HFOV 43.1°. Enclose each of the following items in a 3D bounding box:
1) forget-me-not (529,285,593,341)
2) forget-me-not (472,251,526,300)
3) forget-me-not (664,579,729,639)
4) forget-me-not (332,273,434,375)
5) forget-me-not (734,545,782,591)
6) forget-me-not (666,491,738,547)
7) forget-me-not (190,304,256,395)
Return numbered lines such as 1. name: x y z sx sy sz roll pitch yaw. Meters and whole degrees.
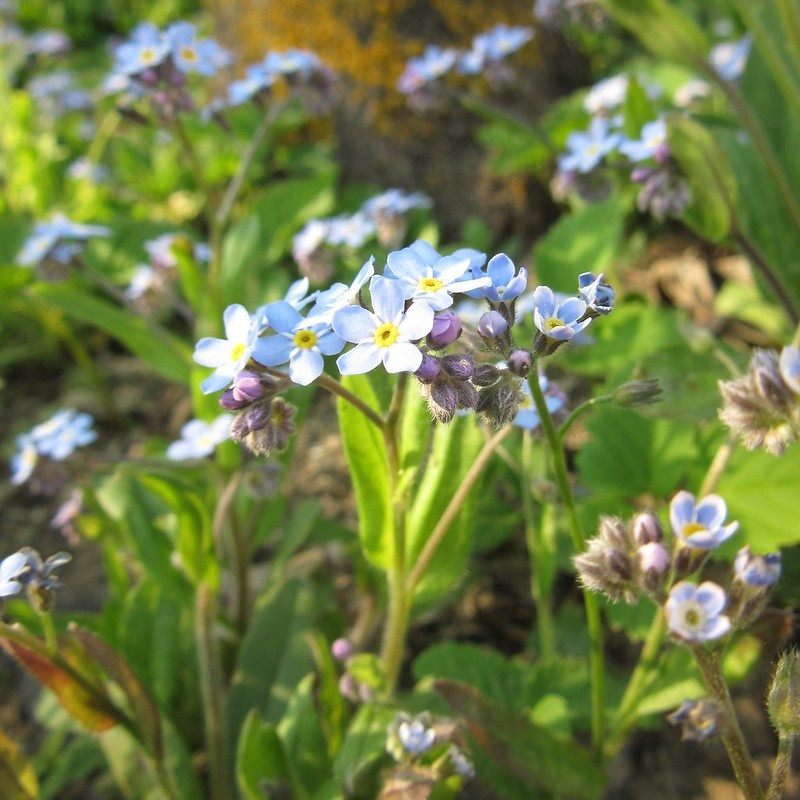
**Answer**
1. forget-me-not: 0.369 -0.217 2.418 0.133 0.178 0.094 15 91 19
2. forget-me-not: 0.245 -0.298 2.402 0.095 0.070 0.136 -8 14 28
3. forget-me-not: 0.671 0.459 2.247 0.151 0.181 0.077 36 83 28
4. forget-me-not: -0.018 -0.194 2.327 0.202 0.219 0.078 5 78 28
5. forget-me-not: 0.790 0.368 2.259 0.084 0.060 0.106 22 21 34
6. forget-me-not: 0.658 0.277 2.248 0.130 0.088 0.131 27 42 19
7. forget-me-not: -0.399 -0.122 2.417 0.166 0.069 0.220 -18 58 42
